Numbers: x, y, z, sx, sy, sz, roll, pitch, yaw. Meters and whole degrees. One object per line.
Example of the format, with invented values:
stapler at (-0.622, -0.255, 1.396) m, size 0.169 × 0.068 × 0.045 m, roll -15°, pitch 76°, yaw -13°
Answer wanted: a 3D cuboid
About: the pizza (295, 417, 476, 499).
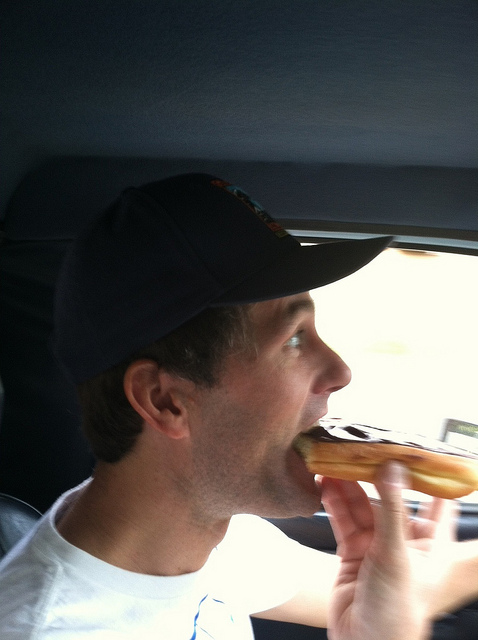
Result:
pizza at (0.332, 0.306, 1.519) m, size 0.315 × 0.077 × 0.210 m, roll 8°, pitch -3°, yaw 4°
